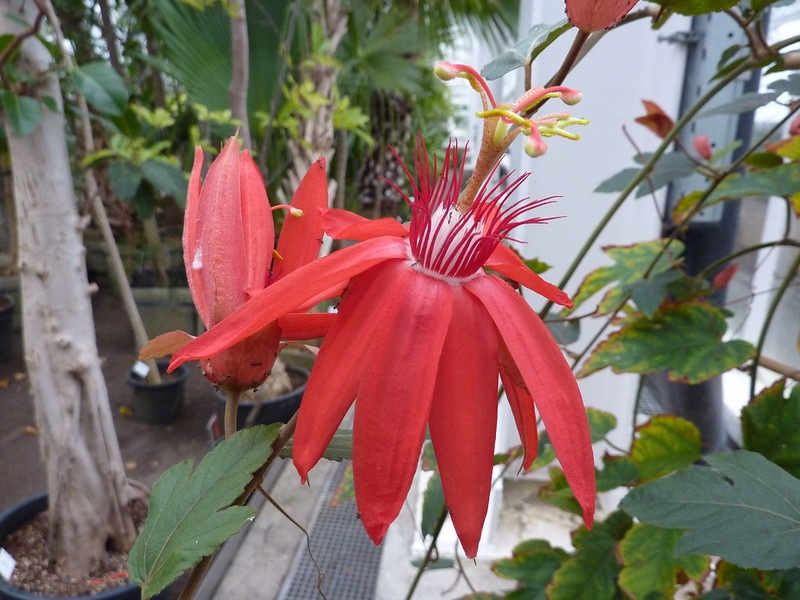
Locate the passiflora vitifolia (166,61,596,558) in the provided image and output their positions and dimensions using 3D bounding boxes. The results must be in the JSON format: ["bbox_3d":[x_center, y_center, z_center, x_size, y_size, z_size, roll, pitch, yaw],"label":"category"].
[{"bbox_3d":[0.039,0.040,0.807,0.415,0.362,0.430,20,-3,-5],"label":"passiflora vitifolia"}]

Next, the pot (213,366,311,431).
[{"bbox_3d":[-0.229,0.173,1.256,0.133,0.105,0.134,1,15,0],"label":"pot"}]

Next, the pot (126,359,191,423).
[{"bbox_3d":[-0.321,0.129,0.963,0.077,0.064,0.081,1,6,0],"label":"pot"}]
